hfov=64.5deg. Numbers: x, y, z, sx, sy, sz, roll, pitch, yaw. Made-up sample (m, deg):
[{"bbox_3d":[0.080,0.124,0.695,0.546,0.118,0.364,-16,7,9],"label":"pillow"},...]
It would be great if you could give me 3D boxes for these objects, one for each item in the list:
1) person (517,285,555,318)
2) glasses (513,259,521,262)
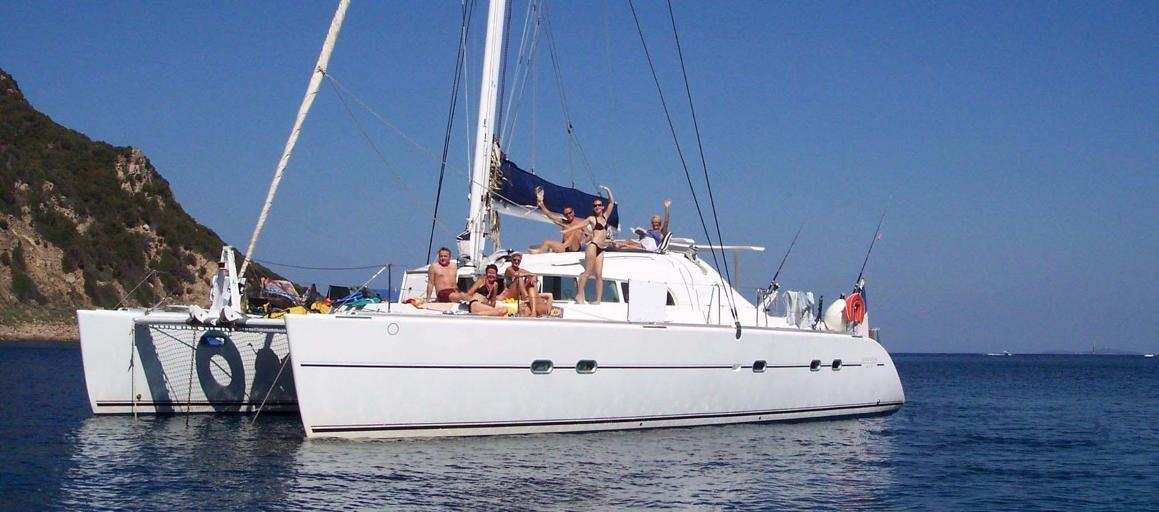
[{"bbox_3d":[-1.675,1.848,37.031,1.506,1.292,0.947,-4,-2,-13],"label":"person"},{"bbox_3d":[-2.394,0.164,36.623,0.139,0.181,0.392,4,-3,29],"label":"glasses"}]
